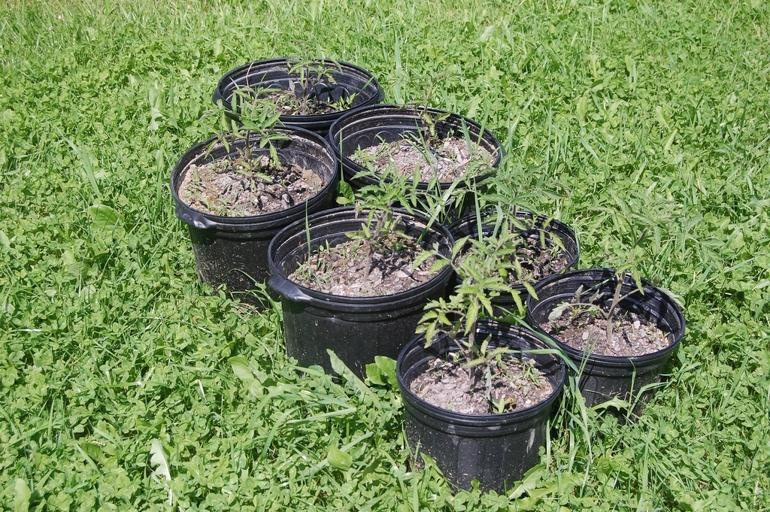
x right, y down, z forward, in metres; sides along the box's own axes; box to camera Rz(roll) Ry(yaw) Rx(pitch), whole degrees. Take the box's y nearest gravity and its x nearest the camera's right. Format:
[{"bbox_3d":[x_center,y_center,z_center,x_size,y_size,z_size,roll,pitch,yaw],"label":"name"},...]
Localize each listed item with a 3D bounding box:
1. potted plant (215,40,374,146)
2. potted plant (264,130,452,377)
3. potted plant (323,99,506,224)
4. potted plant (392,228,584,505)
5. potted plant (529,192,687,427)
[{"bbox_3d":[-0.622,-1.142,5.154,0.821,0.285,0.771,3,42,-1],"label":"potted plant"},{"bbox_3d":[-0.165,0.064,4.138,0.945,0.778,1.093,15,46,13],"label":"potted plant"},{"bbox_3d":[0.176,-0.685,4.740,0.887,0.348,0.933,-32,51,-33],"label":"potted plant"},{"bbox_3d":[0.518,0.621,3.894,0.832,1.225,0.753,-21,35,-22],"label":"potted plant"},{"bbox_3d":[1.164,0.367,4.101,0.844,0.432,0.843,23,53,15],"label":"potted plant"}]
